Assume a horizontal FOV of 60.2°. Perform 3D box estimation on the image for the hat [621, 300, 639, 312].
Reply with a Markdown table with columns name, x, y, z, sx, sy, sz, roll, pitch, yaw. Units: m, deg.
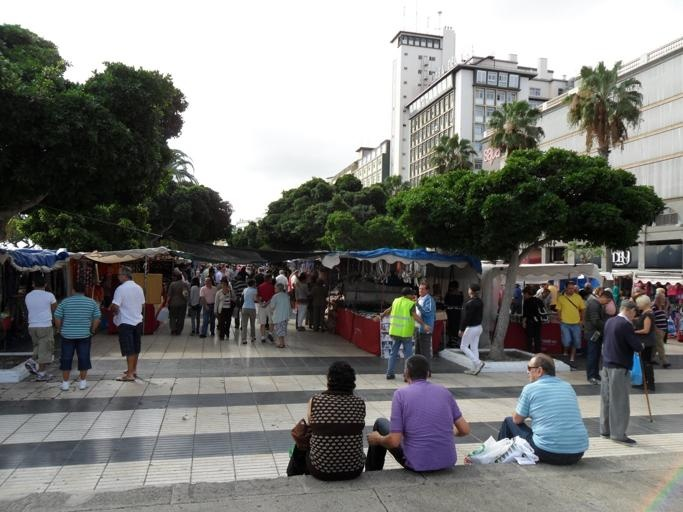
| name | x | y | z | sx | sy | sz | roll | pitch | yaw |
| --- | --- | --- | --- | --- | --- | --- | --- | --- | --- |
| hat | 4.616 | 0.793 | 9.461 | 0.210 | 0.227 | 0.175 | -25 | 1 | -30 |

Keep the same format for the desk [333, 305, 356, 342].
| name | x | y | z | sx | sy | sz | roll | pitch | yaw |
| --- | --- | --- | --- | --- | --- | --- | --- | --- | --- |
| desk | 0.086 | 2.158 | 18.368 | 0.665 | 0.839 | 1.272 | 2 | 1 | -6 |

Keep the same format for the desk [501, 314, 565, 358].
| name | x | y | z | sx | sy | sz | roll | pitch | yaw |
| --- | --- | --- | --- | --- | --- | --- | --- | --- | --- |
| desk | 5.481 | 2.295 | 17.009 | 1.164 | 0.777 | 1.211 | 1 | -4 | 4 |

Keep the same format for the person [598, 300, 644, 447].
| name | x | y | z | sx | sy | sz | roll | pitch | yaw |
| --- | --- | --- | --- | --- | --- | --- | --- | --- | --- |
| person | 4.324 | 1.805 | 9.217 | 0.511 | 2.145 | 0.582 | 2 | -1 | 1 |

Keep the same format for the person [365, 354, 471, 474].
| name | x | y | z | sx | sy | sz | roll | pitch | yaw |
| --- | --- | --- | --- | --- | --- | --- | --- | --- | --- |
| person | 1.034 | 1.981 | 7.282 | 0.934 | 1.049 | 0.335 | 3 | -1 | -8 |

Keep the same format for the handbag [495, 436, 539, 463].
| name | x | y | z | sx | sy | sz | roll | pitch | yaw |
| --- | --- | --- | --- | --- | --- | --- | --- | --- | --- |
| handbag | 2.305 | 2.591 | 7.707 | 0.347 | 0.157 | 0.356 | 1 | 4 | 16 |

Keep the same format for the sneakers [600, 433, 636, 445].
| name | x | y | z | sx | sy | sz | roll | pitch | yaw |
| --- | --- | --- | --- | --- | --- | --- | --- | --- | --- |
| sneakers | 4.245 | 2.838 | 9.047 | 0.404 | 0.170 | 0.153 | 0 | -1 | 18 |

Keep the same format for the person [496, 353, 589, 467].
| name | x | y | z | sx | sy | sz | roll | pitch | yaw |
| --- | --- | --- | --- | --- | --- | --- | --- | --- | --- |
| person | 2.747 | 2.181 | 8.039 | 0.853 | 1.570 | 1.259 | 0 | -5 | -19 |

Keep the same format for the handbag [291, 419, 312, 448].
| name | x | y | z | sx | sy | sz | roll | pitch | yaw |
| --- | --- | --- | --- | --- | --- | --- | --- | --- | --- |
| handbag | -0.491 | 2.205 | 7.217 | 0.247 | 0.361 | 0.145 | -3 | 7 | 18 |

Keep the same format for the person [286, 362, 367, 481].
| name | x | y | z | sx | sy | sz | roll | pitch | yaw |
| --- | --- | --- | --- | --- | --- | --- | --- | --- | --- |
| person | -0.040 | 2.170 | 7.654 | 0.901 | 1.520 | 1.387 | 1 | -5 | -12 |
